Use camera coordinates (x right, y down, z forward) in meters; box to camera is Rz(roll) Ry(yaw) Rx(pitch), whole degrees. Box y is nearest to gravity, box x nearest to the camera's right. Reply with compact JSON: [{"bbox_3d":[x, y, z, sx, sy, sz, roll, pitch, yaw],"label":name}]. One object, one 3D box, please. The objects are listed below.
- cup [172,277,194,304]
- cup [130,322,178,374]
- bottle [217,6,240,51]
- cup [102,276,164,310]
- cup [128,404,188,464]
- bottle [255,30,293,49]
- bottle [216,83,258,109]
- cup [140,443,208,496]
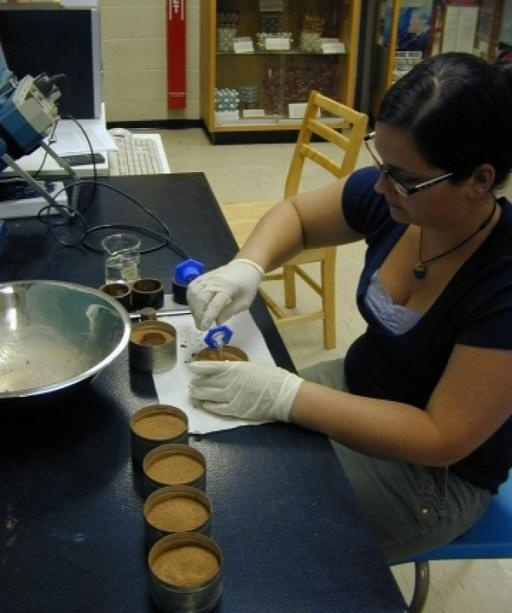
[{"bbox_3d":[-0.167,-0.030,1.200,0.060,0.041,0.055,1,39,-1],"label":"cup"},{"bbox_3d":[-0.182,0.072,0.954,0.097,0.057,0.092,1,36,-1],"label":"cup"},{"bbox_3d":[-0.213,-2.267,4.303,0.126,0.356,0.262,21,32,30],"label":"bottle"},{"bbox_3d":[-0.259,-0.027,1.107,0.119,0.042,0.061,-3,32,-13],"label":"cup"},{"bbox_3d":[-0.141,0.173,0.762,0.086,0.058,0.086,1,27,0],"label":"cup"},{"bbox_3d":[0.147,-2.230,4.439,0.268,0.140,0.102,0,27,-6],"label":"bottle"},{"bbox_3d":[-0.165,-1.791,4.528,0.310,0.093,0.285,-3,35,2],"label":"bottle"},{"bbox_3d":[-0.111,0.207,0.670,0.078,0.043,0.073,1,25,0],"label":"cup"}]
